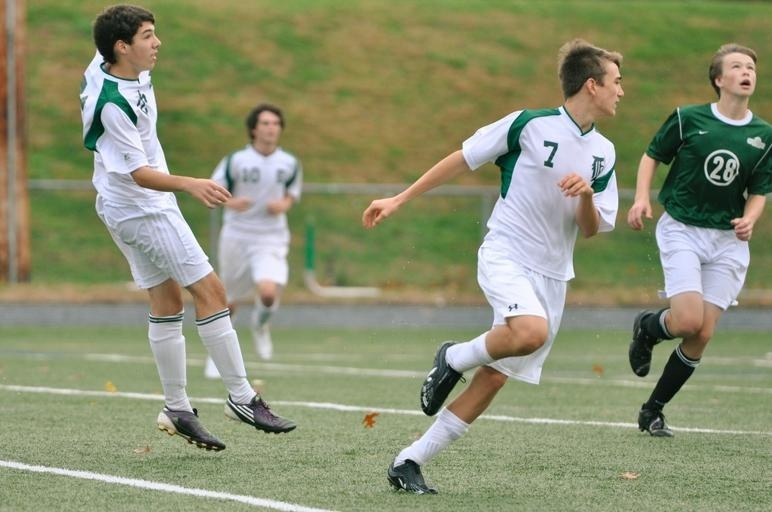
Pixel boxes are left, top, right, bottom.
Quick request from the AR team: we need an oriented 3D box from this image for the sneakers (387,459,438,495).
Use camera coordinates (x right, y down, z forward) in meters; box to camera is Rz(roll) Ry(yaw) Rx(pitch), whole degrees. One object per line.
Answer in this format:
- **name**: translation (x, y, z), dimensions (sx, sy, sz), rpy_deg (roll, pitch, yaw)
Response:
- **sneakers**: translation (0.375, 2.029, 11.585), dimensions (0.604, 0.274, 0.207), rpy_deg (9, 4, 16)
